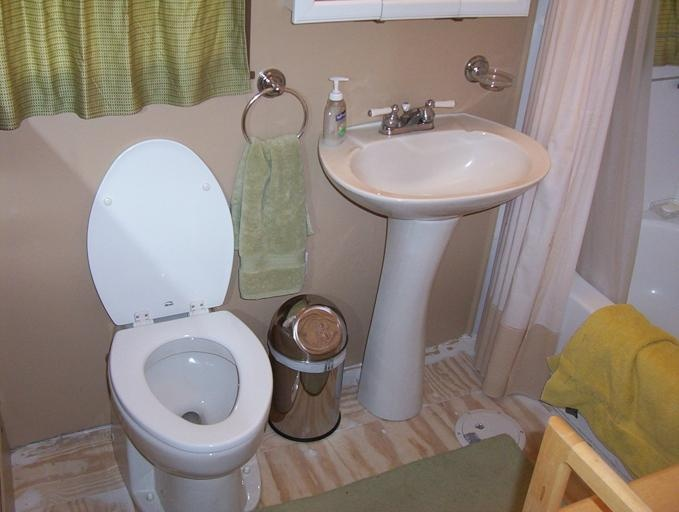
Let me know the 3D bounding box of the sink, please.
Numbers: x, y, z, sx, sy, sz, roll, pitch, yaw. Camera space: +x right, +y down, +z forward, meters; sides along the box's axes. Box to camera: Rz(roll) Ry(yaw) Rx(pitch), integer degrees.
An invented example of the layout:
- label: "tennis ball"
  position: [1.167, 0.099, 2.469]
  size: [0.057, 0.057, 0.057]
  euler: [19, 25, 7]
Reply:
- label: "sink"
  position: [0.281, -0.252, 1.619]
  size: [0.672, 0.188, 0.514]
  euler: [-8, 34, -14]

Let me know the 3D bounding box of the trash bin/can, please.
- label: "trash bin/can"
  position: [-0.117, 0.368, 1.896]
  size: [0.262, 0.531, 0.308]
  euler: [-1, 35, -8]

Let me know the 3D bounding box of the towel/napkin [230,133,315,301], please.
- label: "towel/napkin"
  position: [-0.211, -0.104, 1.653]
  size: [0.286, 0.467, 0.091]
  euler: [-11, 29, -25]

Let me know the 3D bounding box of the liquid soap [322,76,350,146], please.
- label: "liquid soap"
  position: [-0.012, -0.431, 1.573]
  size: [0.074, 0.184, 0.067]
  euler: [-3, 31, -7]
